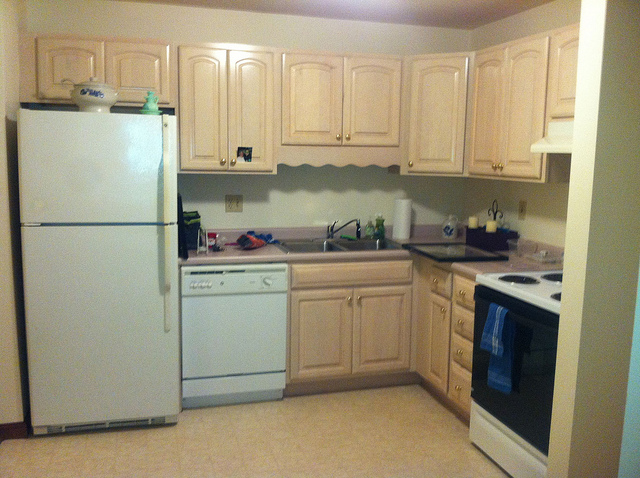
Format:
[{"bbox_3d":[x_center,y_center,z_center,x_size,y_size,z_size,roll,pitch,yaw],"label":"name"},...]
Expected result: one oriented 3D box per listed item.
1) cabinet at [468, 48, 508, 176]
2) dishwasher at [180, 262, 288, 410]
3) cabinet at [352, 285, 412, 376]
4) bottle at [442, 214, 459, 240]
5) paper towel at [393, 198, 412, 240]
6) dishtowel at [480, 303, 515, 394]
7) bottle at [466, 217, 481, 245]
[{"bbox_3d":[1.196,-0.891,3.521,0.182,0.720,0.290,-2,12,-8],"label":"cabinet"},{"bbox_3d":[-0.670,0.615,3.812,0.784,1.001,0.747,-1,10,-15],"label":"dishwasher"},{"bbox_3d":[0.438,0.606,3.789,0.386,0.729,0.376,-1,9,-16],"label":"cabinet"},{"bbox_3d":[1.121,-0.100,4.173,0.158,0.192,0.170,0,14,-3],"label":"bottle"},{"bbox_3d":[0.691,-0.165,4.112,0.141,0.318,0.166,3,14,8],"label":"paper towel"},{"bbox_3d":[0.996,0.613,2.781,0.082,0.457,0.208,4,0,-16],"label":"dishtowel"},{"bbox_3d":[1.192,-0.059,3.825,0.090,0.205,0.180,4,14,12],"label":"bottle"}]
